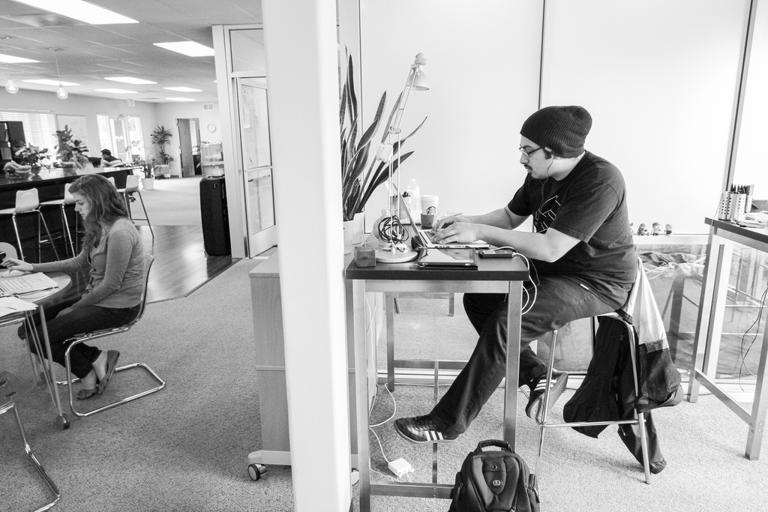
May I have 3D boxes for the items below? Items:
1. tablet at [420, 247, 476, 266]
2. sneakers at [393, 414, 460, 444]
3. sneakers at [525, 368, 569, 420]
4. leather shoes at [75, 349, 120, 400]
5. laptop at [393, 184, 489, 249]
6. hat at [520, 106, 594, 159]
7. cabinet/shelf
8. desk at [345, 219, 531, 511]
[{"bbox_3d":[0.340,0.010,2.835,0.299,0.057,0.244,3,13,8],"label":"tablet"},{"bbox_3d":[0.222,0.999,3.066,0.406,0.171,0.153,6,8,-2],"label":"sneakers"},{"bbox_3d":[1.079,0.842,3.381,0.196,0.168,0.482,-10,10,40],"label":"sneakers"},{"bbox_3d":[-2.192,0.930,4.063,0.136,0.497,0.183,13,-21,13],"label":"leather shoes"},{"bbox_3d":[0.326,-0.182,3.108,0.441,0.305,0.486,-3,13,-6],"label":"laptop"},{"bbox_3d":[0.999,-0.747,3.027,0.315,0.240,0.298,13,28,26],"label":"hat"},{"bbox_3d":[-0.701,0.656,3.194,0.203,1.123,0.150,0,13,-4],"label":"cabinet/shelf"},{"bbox_3d":[0.268,0.559,3.119,1.064,1.779,1.270,0,22,3],"label":"desk"}]
